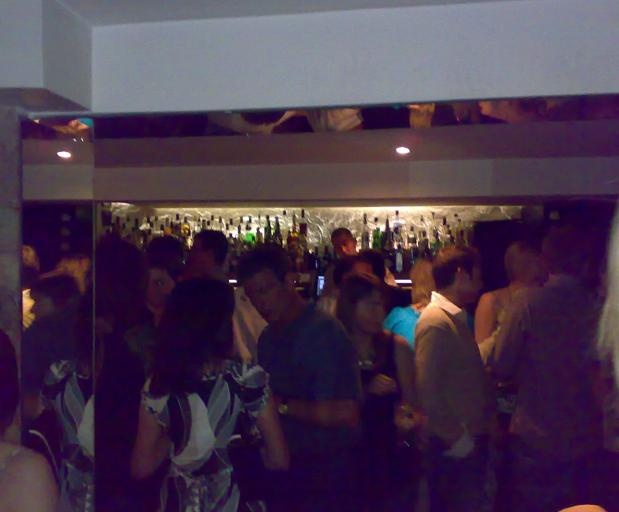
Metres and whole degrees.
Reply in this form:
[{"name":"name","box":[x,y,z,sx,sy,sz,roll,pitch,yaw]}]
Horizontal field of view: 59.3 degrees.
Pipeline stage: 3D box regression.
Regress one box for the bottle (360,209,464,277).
[{"name":"bottle","box":[0.365,-0.058,1.897,0.347,0.222,0.032,0,1,4]}]
